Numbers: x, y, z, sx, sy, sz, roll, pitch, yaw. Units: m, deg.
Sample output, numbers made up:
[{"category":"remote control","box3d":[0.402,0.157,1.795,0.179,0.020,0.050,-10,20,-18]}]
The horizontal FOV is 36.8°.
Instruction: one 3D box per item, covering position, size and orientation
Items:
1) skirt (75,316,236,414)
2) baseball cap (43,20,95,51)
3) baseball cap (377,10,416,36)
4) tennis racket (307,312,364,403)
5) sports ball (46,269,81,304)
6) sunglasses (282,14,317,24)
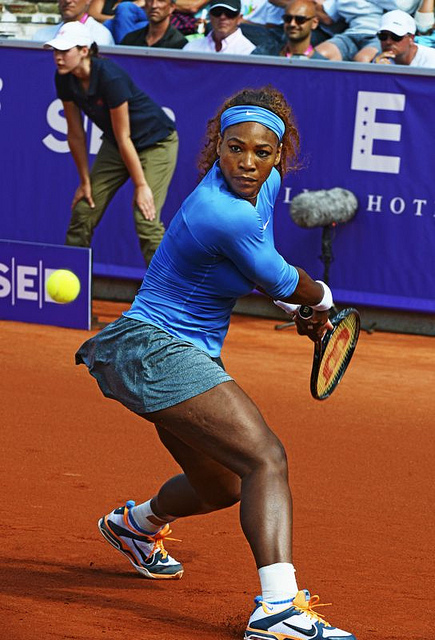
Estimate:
[{"category":"skirt","box3d":[-0.197,0.108,1.681,0.504,0.224,0.160,13,15,43]},{"category":"baseball cap","box3d":[-1.095,-2.124,4.871,0.304,0.275,0.354,1,11,-9]},{"category":"baseball cap","box3d":[1.673,-2.763,6.072,0.268,0.193,0.364,3,-1,29]},{"category":"tennis racket","box3d":[0.506,0.185,2.792,0.035,0.248,0.631,34,-8,14]},{"category":"sports ball","box3d":[-1.166,-0.251,5.023,0.268,0.260,0.260,-6,1,0]},{"category":"sunglasses","box3d":[0.787,-2.977,6.444,0.297,0.099,0.113,3,11,3]}]
